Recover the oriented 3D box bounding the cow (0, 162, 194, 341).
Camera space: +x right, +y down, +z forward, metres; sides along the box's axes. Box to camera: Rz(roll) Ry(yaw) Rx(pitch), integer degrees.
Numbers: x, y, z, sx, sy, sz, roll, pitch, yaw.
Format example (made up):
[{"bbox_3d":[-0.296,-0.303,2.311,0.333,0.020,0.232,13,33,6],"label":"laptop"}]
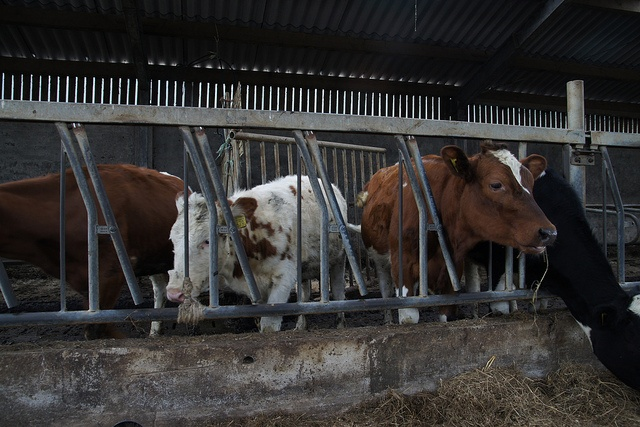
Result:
[{"bbox_3d":[-2.561,0.426,6.772,1.941,1.944,0.930,-5,4,-25],"label":"cow"}]
